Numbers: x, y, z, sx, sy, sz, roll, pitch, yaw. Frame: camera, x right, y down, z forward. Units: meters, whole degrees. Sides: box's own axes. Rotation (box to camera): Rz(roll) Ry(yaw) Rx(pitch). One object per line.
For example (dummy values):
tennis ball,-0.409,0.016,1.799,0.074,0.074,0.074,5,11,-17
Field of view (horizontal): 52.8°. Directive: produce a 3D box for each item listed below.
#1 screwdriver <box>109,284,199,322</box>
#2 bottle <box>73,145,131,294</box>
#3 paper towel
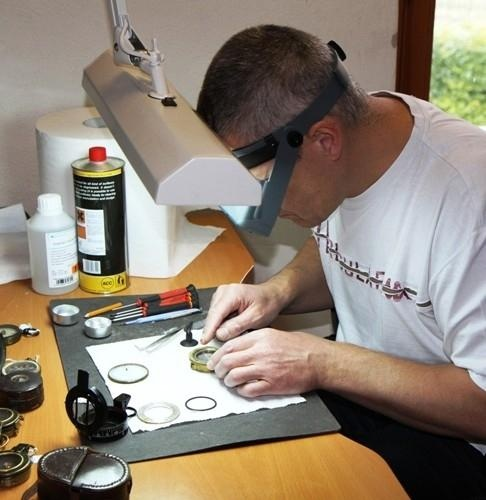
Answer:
screwdriver,-0.174,0.098,1.000,0.180,0.038,0.063,-14,10,-23
bottle,-0.277,-0.068,1.045,0.110,0.301,0.122,6,14,21
paper towel,-0.282,-0.111,1.160,0.236,0.604,0.261,6,12,19
